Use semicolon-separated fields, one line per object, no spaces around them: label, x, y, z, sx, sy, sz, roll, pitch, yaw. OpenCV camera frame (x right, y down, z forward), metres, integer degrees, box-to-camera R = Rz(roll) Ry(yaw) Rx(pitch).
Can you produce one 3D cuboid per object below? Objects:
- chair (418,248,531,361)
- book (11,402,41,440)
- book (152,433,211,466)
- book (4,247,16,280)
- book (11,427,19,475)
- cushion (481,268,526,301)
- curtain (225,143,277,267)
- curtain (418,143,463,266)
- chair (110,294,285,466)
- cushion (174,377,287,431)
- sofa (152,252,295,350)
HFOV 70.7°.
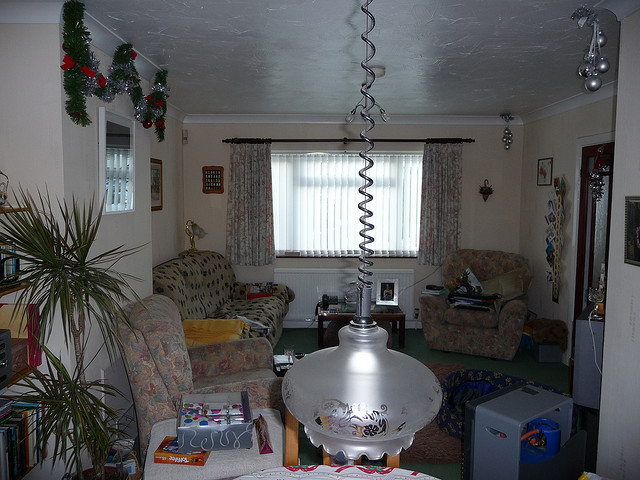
chair;1.981;0.786;5.707;1.267;1.166;1.281;1;6;11
book;-1.644;0.969;2.518;0.049;0.219;0.193;-2;-1;11
book;-0.742;1.123;2.479;0.297;0.124;0.209;-1;4;4
book;-1.663;0.120;2.417;0.053;0.157;0.188;-4;5;-36
book;-1.655;1.143;2.446;0.023;0.292;0.075;-3;4;-33
cushion;2.236;0.551;5.501;0.376;0.120;0.420;-27;32;33
curtain;-0.982;-0.476;6.232;0.659;1.719;0.190;-1;4;8
curtain;1.660;-0.508;6.247;0.597;1.667;0.121;-2;4;-7
chair;-0.863;1.016;3.239;1.173;1.109;0.909;1;3;-29
cushion;-0.505;1.108;3.006;0.543;0.346;0.318;-2;4;-10
sofa;-1.076;0.766;5.340;1.233;1.148;2.074;-1;4;2
